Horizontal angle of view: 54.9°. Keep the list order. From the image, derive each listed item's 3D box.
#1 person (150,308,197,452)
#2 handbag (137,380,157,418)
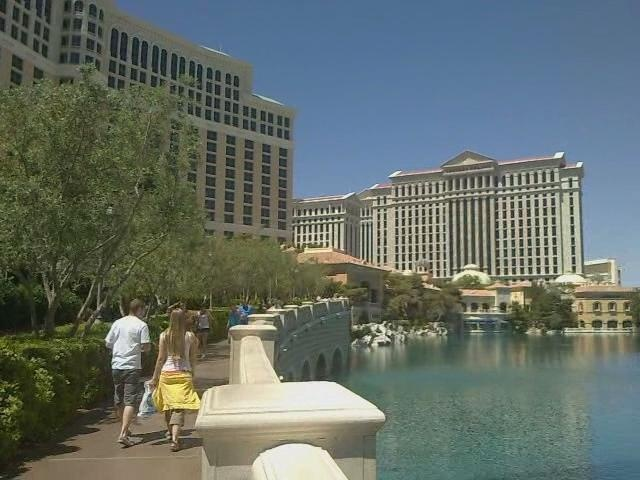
[{"bbox_3d":[-2.685,2.581,11.496,0.883,2.610,0.909,3,-3,-15],"label":"person"},{"bbox_3d":[-3.158,2.931,11.366,0.294,0.626,0.378,3,-4,-14],"label":"handbag"}]
